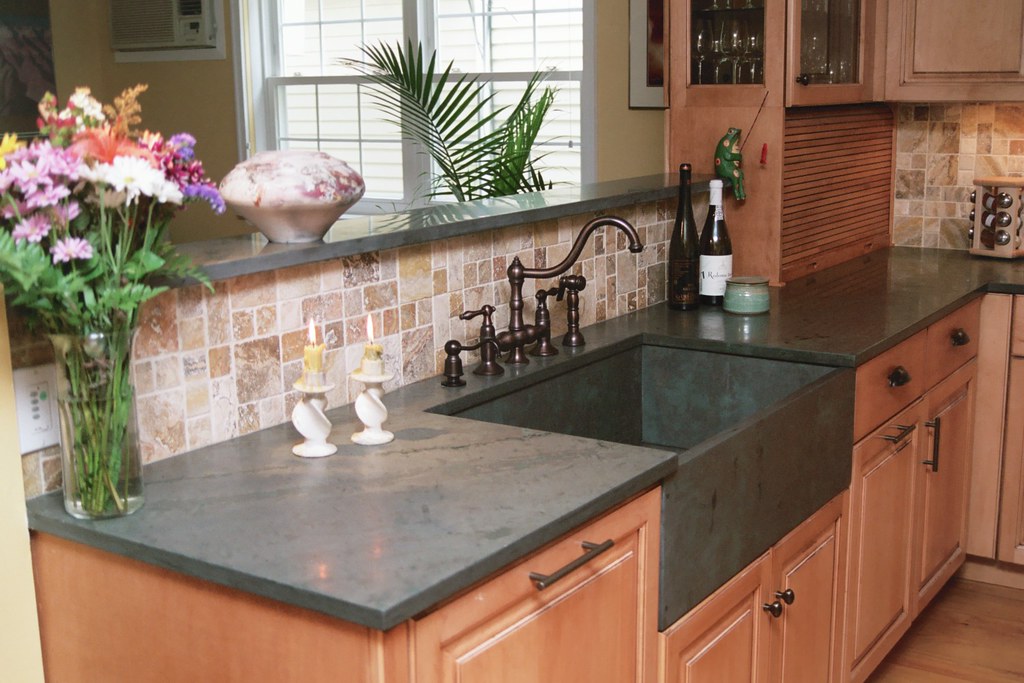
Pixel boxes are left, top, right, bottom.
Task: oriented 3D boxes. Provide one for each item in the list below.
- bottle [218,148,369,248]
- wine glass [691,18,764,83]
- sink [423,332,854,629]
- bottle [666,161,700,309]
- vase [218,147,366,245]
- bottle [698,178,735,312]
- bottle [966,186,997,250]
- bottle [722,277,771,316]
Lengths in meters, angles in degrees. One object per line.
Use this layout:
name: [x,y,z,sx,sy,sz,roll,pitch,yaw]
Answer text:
bottle: [-0.477,-0.313,1.916,0.297,0.199,0.179,-7,13,-17]
wine glass: [0.758,-1.022,3.076,0.222,0.202,0.111,3,13,17]
sink: [0.448,0.200,2.286,0.645,0.319,0.917,4,11,32]
bottle: [0.548,-0.341,2.860,0.102,0.459,0.186,-1,13,10]
vase: [-0.492,-0.329,1.991,0.326,0.200,0.333,18,25,41]
bottle: [0.665,-0.320,2.869,0.103,0.402,0.121,4,14,28]
bottle: [1.894,-0.500,3.561,0.060,0.257,0.153,-5,13,-9]
bottle: [0.743,-0.138,2.759,0.126,0.087,0.123,-1,3,0]
